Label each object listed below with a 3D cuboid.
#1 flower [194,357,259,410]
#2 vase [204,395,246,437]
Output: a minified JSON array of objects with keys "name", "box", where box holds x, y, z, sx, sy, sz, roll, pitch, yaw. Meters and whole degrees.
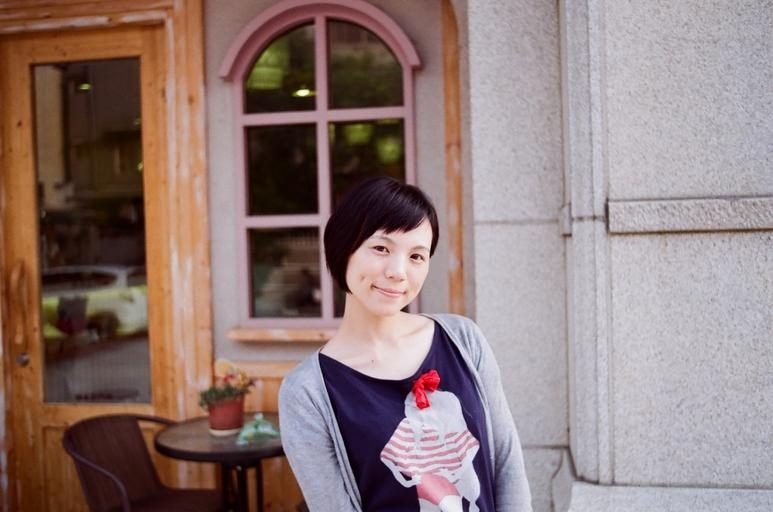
[{"name":"flower","box":[-0.905,0.714,4.655,0.254,0.203,0.332,-5,7,4]},{"name":"vase","box":[-0.881,0.884,4.501,0.203,0.173,0.202,0,1,5]}]
